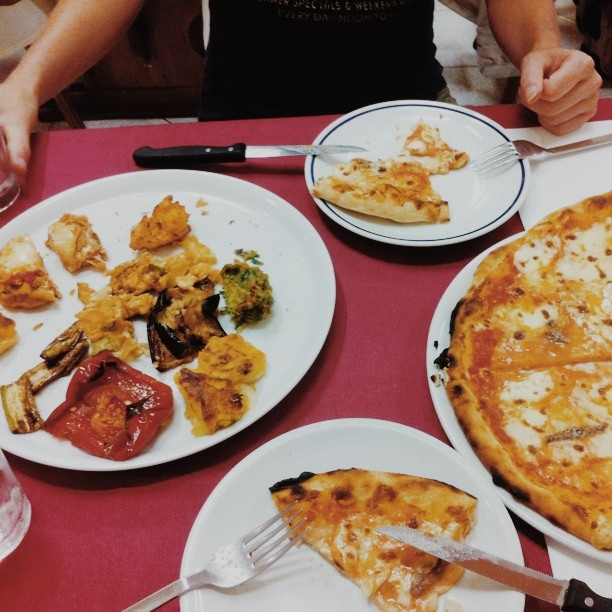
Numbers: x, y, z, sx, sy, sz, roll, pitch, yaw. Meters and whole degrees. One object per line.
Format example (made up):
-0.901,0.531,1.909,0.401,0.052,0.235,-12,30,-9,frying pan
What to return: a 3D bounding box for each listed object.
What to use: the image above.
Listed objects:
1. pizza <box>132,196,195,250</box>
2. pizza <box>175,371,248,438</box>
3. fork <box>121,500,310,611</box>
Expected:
-0.378,-0.225,1.785,0.165,0.063,0.112,-29,77,-6,pizza
-0.205,0.210,1.458,0.147,0.050,0.165,-17,56,-5,pizza
-0.151,0.504,1.257,0.386,0.036,0.088,-30,58,-14,fork
